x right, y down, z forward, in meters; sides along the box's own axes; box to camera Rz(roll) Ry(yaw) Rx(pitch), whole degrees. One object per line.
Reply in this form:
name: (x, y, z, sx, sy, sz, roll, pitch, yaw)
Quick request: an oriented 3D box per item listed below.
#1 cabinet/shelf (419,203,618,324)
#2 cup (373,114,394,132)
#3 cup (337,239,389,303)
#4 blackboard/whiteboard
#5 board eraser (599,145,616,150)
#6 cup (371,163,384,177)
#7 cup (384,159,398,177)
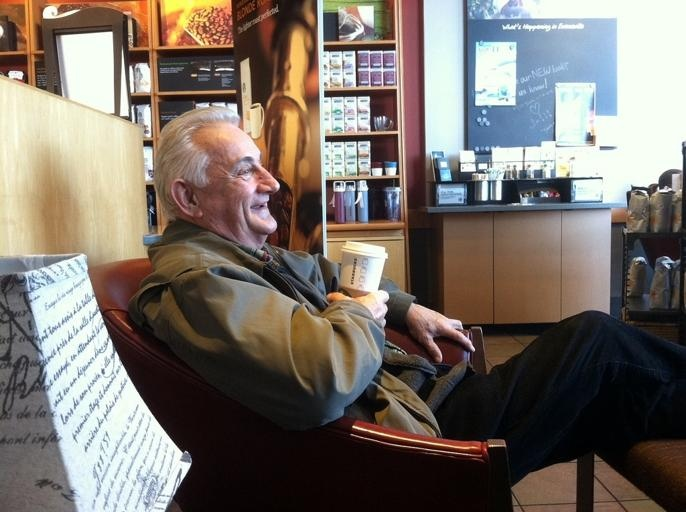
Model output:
cabinet/shelf: (1.300, 0.179, 4.229, 1.399, 1.081, 0.765, 1, 8, 5)
cup: (0.332, -1.018, 4.381, 0.187, 0.150, 0.121, -2, 2, -22)
cup: (0.060, 0.047, 1.864, 0.154, 0.176, 0.160, 11, 2, 0)
blackboard/whiteboard: (1.532, -1.397, 4.518, 1.051, 0.972, 0.043, 0, 3, -6)
board eraser: (2.183, -0.896, 4.660, 0.096, 0.025, 0.062, 0, 0, 1)
cup: (0.257, -0.658, 4.323, 0.105, 0.126, 0.110, 0, -13, 0)
cup: (0.362, -0.676, 4.306, 0.095, 0.119, 0.107, -1, -13, 1)
